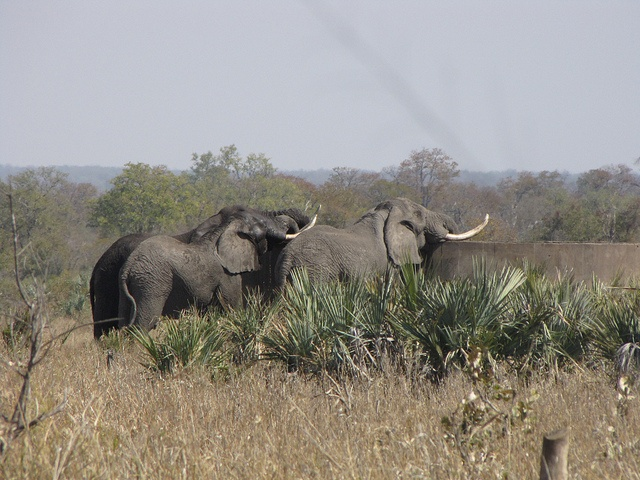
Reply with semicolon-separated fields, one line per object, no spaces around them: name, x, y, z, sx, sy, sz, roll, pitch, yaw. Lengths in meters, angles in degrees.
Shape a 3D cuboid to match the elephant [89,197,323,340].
elephant;-1.489;0.531;12.248;2.987;2.029;1.262;-14;27;-21
